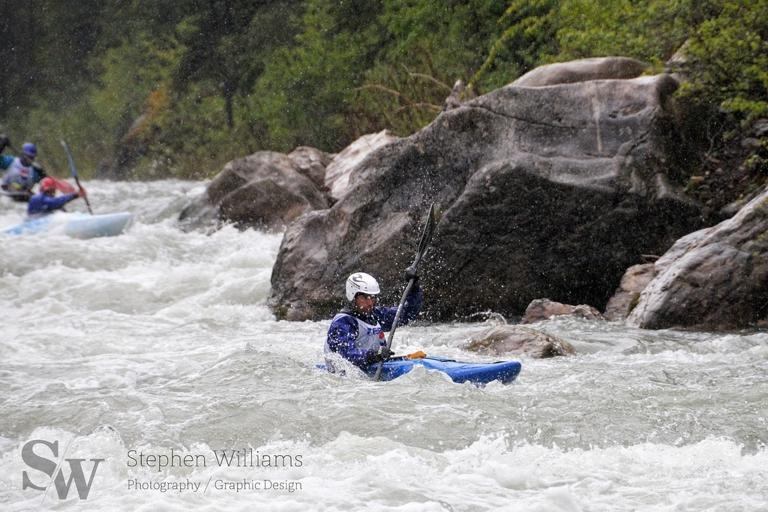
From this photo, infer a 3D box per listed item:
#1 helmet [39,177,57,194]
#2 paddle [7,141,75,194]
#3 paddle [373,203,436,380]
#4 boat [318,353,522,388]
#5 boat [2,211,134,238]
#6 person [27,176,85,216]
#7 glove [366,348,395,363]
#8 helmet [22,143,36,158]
[{"bbox_3d":[-7.734,-1.659,29.408,0.423,0.387,0.299,-5,20,-20],"label":"helmet"},{"bbox_3d":[-8.356,-2.017,29.848,1.682,0.815,1.127,12,25,35],"label":"paddle"},{"bbox_3d":[0.417,0.766,24.722,0.446,3.605,0.277,26,-4,-5],"label":"paddle"},{"bbox_3d":[0.821,2.024,23.039,3.093,0.459,0.897,-1,7,21],"label":"boat"},{"bbox_3d":[-7.206,-0.662,29.046,2.824,0.596,0.784,-4,16,-3],"label":"boat"},{"bbox_3d":[-7.610,-1.372,29.405,1.160,0.871,0.520,2,10,-13],"label":"person"},{"bbox_3d":[-0.067,1.771,23.126,0.416,0.157,0.248,-17,6,13],"label":"glove"},{"bbox_3d":[-8.366,-2.527,30.204,0.338,0.344,0.456,8,-10,-29],"label":"helmet"}]
